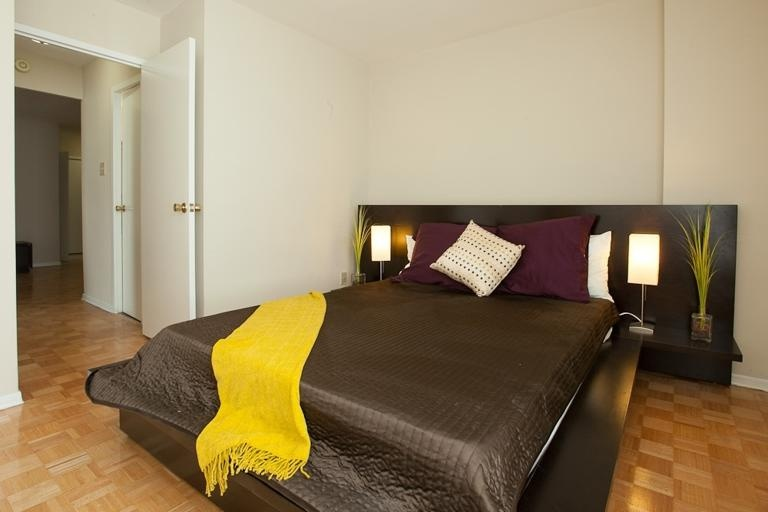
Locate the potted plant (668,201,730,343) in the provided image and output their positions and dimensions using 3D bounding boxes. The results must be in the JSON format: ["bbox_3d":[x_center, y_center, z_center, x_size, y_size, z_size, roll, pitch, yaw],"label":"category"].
[{"bbox_3d":[2.481,0.125,3.792,0.338,1.028,0.319,3,9,29],"label":"potted plant"}]

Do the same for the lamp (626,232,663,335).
[{"bbox_3d":[2.115,0.207,3.900,0.235,0.780,0.366,3,9,29],"label":"lamp"}]
